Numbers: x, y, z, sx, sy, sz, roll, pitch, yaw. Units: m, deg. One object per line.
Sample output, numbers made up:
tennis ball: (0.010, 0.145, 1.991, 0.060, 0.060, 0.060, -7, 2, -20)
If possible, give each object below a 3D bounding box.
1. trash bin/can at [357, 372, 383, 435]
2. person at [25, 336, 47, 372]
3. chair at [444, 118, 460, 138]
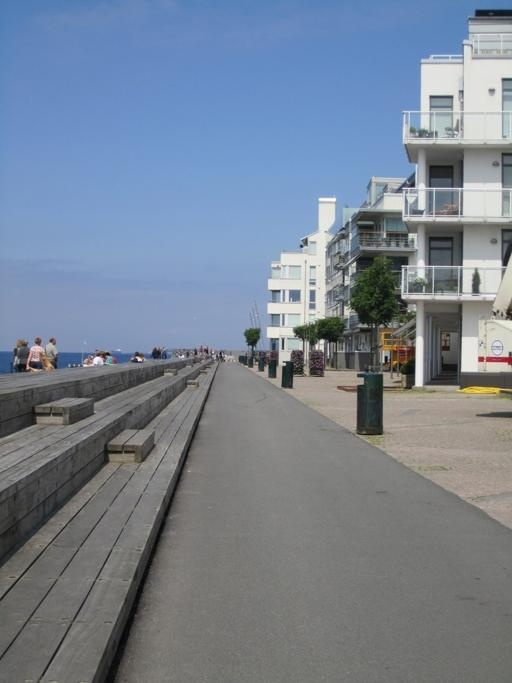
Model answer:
trash bin/can: (1.999, 1.123, 11.713, 0.444, 1.124, 0.772, 1, 1, 9)
person: (-5.919, 0.389, 17.728, 0.551, 0.911, 3.187, 0, 1, -19)
chair: (8.707, -9.564, 29.484, 0.655, 1.186, 0.596, 1, 1, 15)
